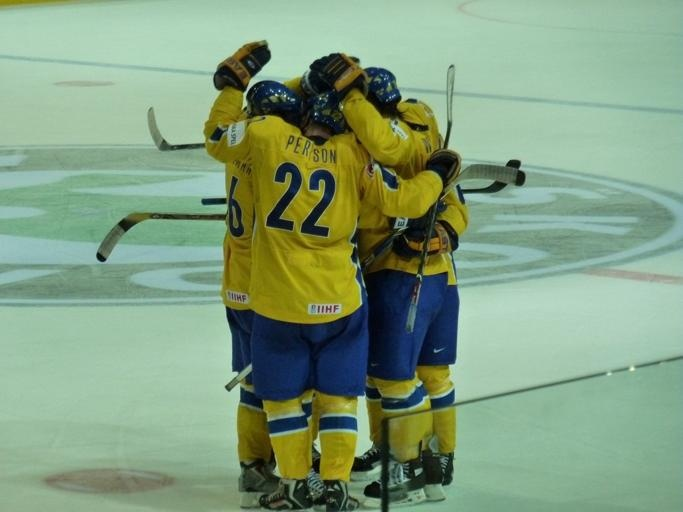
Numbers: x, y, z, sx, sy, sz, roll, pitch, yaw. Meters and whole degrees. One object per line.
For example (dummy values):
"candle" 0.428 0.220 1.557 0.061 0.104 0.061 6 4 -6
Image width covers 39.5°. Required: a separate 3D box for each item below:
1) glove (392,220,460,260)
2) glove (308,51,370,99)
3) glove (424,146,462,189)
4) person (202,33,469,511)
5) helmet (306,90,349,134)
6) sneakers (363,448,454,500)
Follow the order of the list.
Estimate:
"glove" 0.405 -0.085 4.513 0.277 0.108 0.185 -3 12 -9
"glove" -0.016 -0.817 4.410 0.309 0.116 0.272 9 46 5
"glove" 0.472 -0.416 4.314 0.156 0.162 0.069 5 14 -9
"person" -0.078 0.118 4.400 1.091 2.123 0.563 -2 8 -1
"helmet" -0.094 -0.659 4.387 0.182 0.193 0.194 0 26 -6
"sneakers" 0.362 0.932 4.114 0.197 0.249 0.650 -6 -11 38
